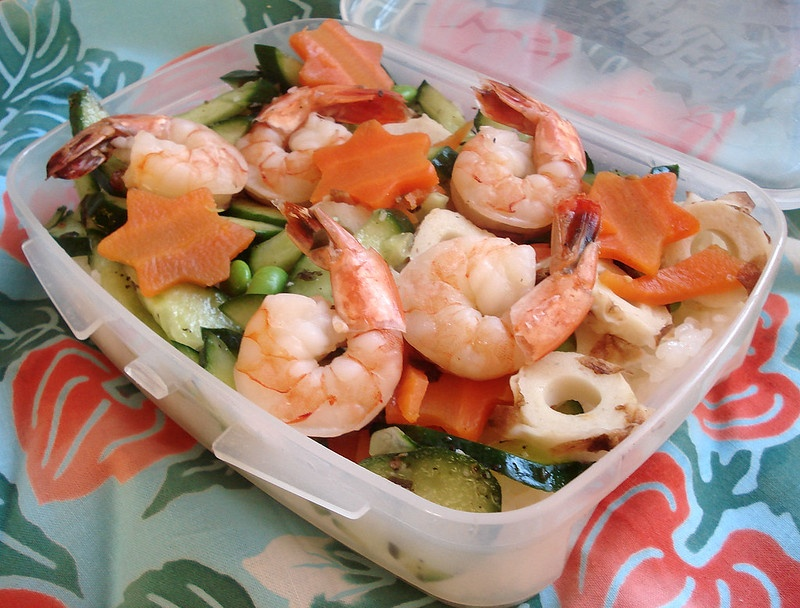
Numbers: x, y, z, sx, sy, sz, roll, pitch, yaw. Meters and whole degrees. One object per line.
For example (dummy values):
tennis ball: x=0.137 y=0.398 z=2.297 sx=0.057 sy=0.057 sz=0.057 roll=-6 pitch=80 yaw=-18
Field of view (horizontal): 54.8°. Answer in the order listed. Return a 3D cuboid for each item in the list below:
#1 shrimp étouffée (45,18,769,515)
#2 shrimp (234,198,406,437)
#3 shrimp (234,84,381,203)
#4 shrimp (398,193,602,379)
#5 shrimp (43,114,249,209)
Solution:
shrimp étouffée: x=-0.184 y=-0.049 z=1.630 sx=1.408 sy=0.337 sz=1.006 roll=25 pitch=44 yaw=21
shrimp: x=-0.121 y=0.022 z=1.319 sx=0.279 sy=0.257 sz=0.405 roll=10 pitch=55 yaw=1
shrimp: x=-0.193 y=-0.337 z=1.661 sx=0.272 sy=0.186 sz=0.328 roll=-32 pitch=27 yaw=11
shrimp: x=0.164 y=-0.030 z=1.398 sx=0.337 sy=0.202 sz=0.352 roll=7 pitch=54 yaw=0
shrimp: x=-0.499 y=-0.263 z=1.611 sx=0.400 sy=0.091 sz=0.206 roll=13 pitch=37 yaw=-4
